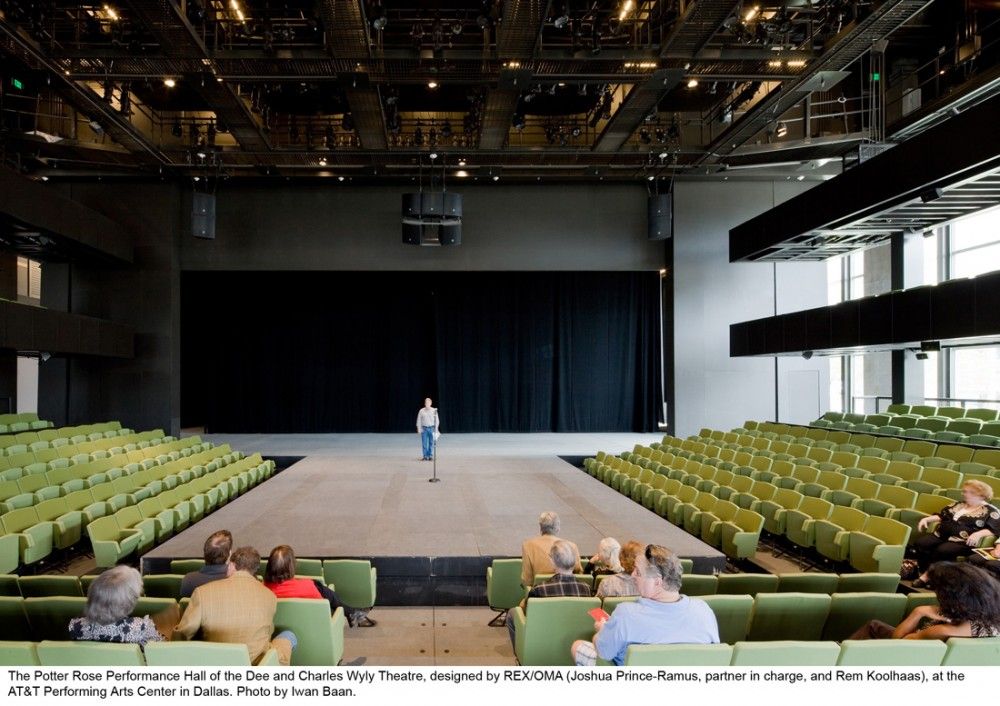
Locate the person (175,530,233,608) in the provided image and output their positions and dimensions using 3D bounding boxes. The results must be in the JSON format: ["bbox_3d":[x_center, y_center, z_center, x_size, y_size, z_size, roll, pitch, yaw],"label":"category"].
[{"bbox_3d":[-2.774,2.057,6.940,0.390,0.839,0.447,14,21,-5],"label":"person"}]

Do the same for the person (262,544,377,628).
[{"bbox_3d":[-1.744,2.312,7.195,0.773,1.056,0.908,6,17,6],"label":"person"}]

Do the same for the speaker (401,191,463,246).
[{"bbox_3d":[-1.374,-2.803,14.756,1.220,1.076,1.064,0,4,-2],"label":"speaker"}]

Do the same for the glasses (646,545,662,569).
[{"bbox_3d":[1.175,1.627,5.905,0.116,0.142,0.146,9,-22,-35],"label":"glasses"}]

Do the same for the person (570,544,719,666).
[{"bbox_3d":[1.269,2.093,6.406,0.821,1.145,1.157,2,-3,-18],"label":"person"}]

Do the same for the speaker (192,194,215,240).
[{"bbox_3d":[-5.918,-2.820,14.873,0.347,0.923,0.476,-2,-3,43],"label":"speaker"}]

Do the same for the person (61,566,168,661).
[{"bbox_3d":[-3.138,2.208,6.082,0.776,0.769,0.425,1,13,-5],"label":"person"}]
